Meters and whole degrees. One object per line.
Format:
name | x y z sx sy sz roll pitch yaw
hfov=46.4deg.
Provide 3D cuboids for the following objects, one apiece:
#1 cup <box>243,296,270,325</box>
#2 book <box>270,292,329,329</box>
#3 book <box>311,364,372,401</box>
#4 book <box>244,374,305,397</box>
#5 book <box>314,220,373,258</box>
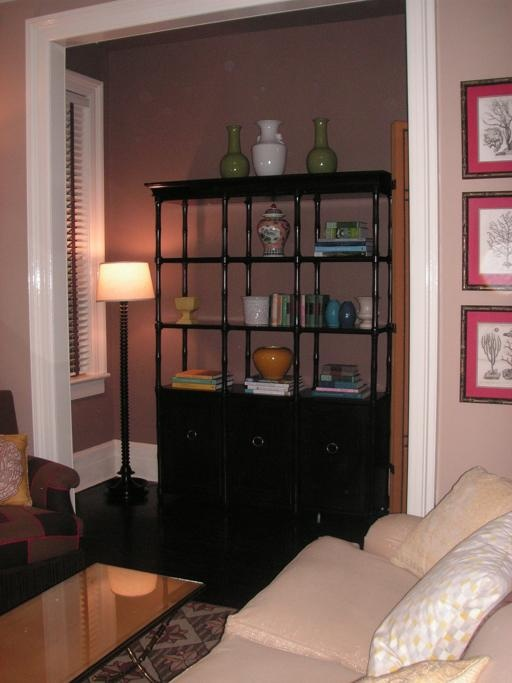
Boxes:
cup | 0.006 -0.194 3.735 0.163 0.142 0.175 1 -1 0
book | 0.256 -0.187 3.612 0.360 0.204 0.179 0 3 6
book | 0.495 0.231 3.504 0.320 0.178 0.150 0 3 10
book | 0.082 0.274 3.633 0.301 0.100 0.141 0 3 23
book | 0.506 -0.595 3.457 0.327 0.211 0.132 0 3 10
